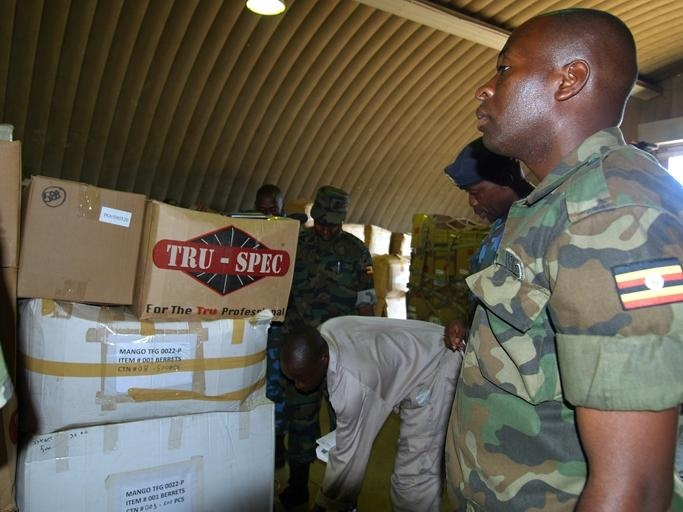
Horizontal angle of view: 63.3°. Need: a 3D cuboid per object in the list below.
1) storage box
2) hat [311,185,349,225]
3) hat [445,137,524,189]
[{"bbox_3d":[-0.481,0.237,2.657,2.195,0.507,1.895,6,31,-8],"label":"storage box"},{"bbox_3d":[-0.080,-0.339,3.778,0.248,0.223,0.259,12,15,-34],"label":"hat"},{"bbox_3d":[0.574,-0.380,2.195,0.289,0.144,0.226,1,27,18],"label":"hat"}]
